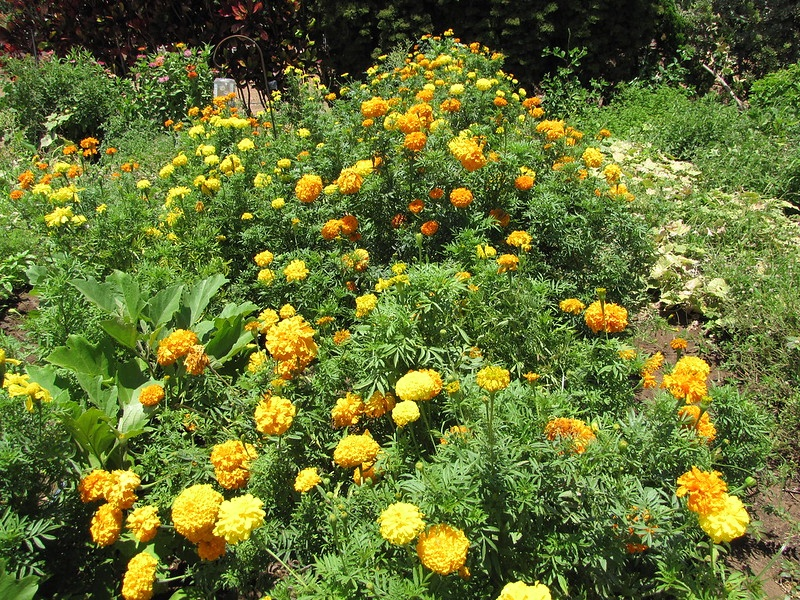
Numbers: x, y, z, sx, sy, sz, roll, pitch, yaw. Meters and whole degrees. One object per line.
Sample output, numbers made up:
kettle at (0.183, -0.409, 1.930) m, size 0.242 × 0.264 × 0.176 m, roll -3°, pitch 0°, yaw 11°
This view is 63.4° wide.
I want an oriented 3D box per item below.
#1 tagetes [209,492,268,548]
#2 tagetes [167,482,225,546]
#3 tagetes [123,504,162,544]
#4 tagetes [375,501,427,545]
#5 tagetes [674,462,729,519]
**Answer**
tagetes at (-0.844, 1.184, 3.425) m, size 0.265 × 0.092 × 0.254 m, roll 26°, pitch 45°, yaw 38°
tagetes at (-1.106, 1.146, 3.498) m, size 0.267 × 0.124 × 0.294 m, roll 4°, pitch 56°, yaw 1°
tagetes at (-1.419, 1.261, 3.631) m, size 0.148 × 0.218 × 0.167 m, roll -29°, pitch 52°, yaw -32°
tagetes at (0.014, 1.120, 3.254) m, size 0.224 × 0.141 × 0.173 m, roll -7°, pitch 43°, yaw -13°
tagetes at (1.551, 0.990, 3.391) m, size 0.248 × 0.130 × 0.246 m, roll -18°, pitch 47°, yaw -8°
